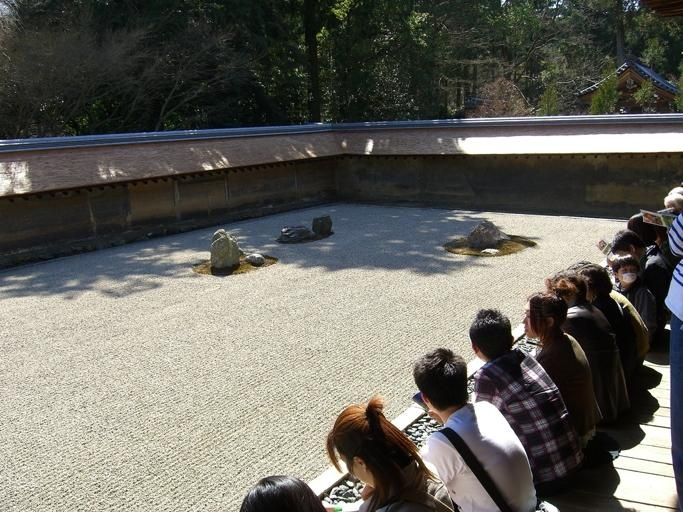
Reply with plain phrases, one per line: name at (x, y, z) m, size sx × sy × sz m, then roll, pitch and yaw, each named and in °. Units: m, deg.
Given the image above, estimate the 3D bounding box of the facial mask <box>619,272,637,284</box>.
facial mask at (3.108, 0.237, 4.117) m, size 0.163 × 0.097 × 0.144 m, roll -2°, pitch -5°, yaw 20°
